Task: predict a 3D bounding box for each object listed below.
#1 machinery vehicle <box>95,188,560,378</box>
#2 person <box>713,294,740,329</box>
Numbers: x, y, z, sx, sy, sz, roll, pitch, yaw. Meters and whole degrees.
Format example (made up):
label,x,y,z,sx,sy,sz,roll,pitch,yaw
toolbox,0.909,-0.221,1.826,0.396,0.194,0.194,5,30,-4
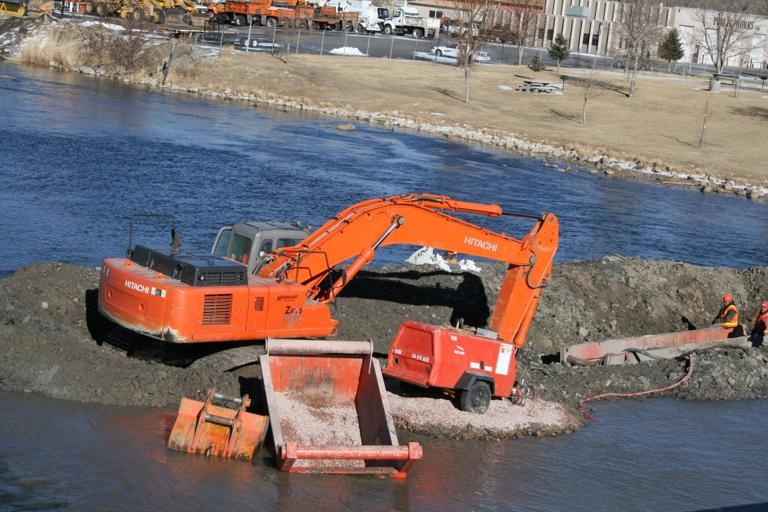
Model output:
label,x,y,z,sx,sy,sz,roll,pitch,yaw
machinery vehicle,-0.978,0.379,28.564,13.202,3.741,3.953,1,15,-28
person,11.270,1.820,32.880,0.661,1.020,0.586,8,18,0
